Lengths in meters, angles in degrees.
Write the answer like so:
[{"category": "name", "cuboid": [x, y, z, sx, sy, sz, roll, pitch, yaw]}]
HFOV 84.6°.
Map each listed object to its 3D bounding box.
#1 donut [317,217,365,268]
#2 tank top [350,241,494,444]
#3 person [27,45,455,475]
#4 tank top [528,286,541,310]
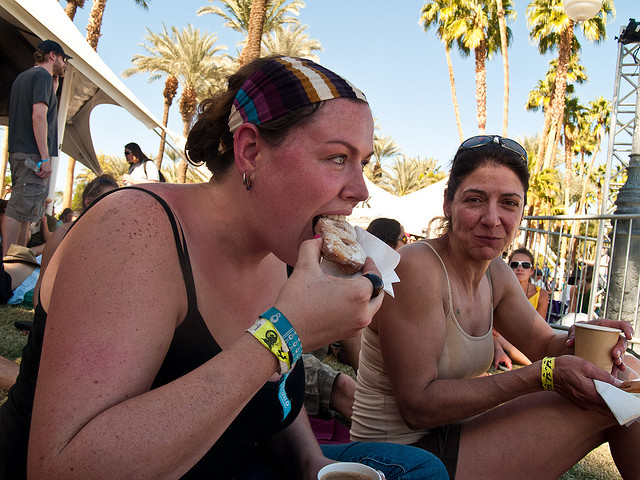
[{"category": "donut", "cuboid": [0.142, -0.008, 1.502, 0.066, 0.218, 0.228, -27, -20, 33]}, {"category": "tank top", "cuboid": [0.647, 0.685, 2.232, 0.851, 1.001, 0.506, 4, -2, 18]}, {"category": "person", "cuboid": [-0.344, -0.063, 1.350, 1.084, 1.451, 0.658, 6, -2, -37]}, {"category": "tank top", "cuboid": [3.954, 1.062, 6.493, 0.156, 0.412, 0.413, 4, -2, 31]}]
